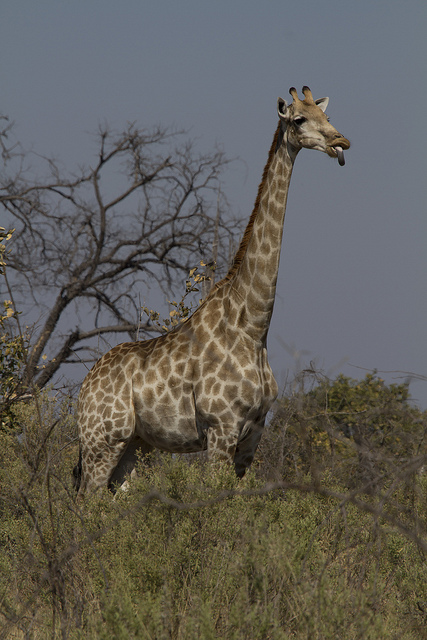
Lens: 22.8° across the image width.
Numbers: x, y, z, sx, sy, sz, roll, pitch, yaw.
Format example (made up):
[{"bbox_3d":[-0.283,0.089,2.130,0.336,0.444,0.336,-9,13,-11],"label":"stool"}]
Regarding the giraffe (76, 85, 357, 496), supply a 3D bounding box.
[{"bbox_3d":[0.082,-0.136,8.346,1.302,3.173,2.402,28,-27,-5],"label":"giraffe"}]
